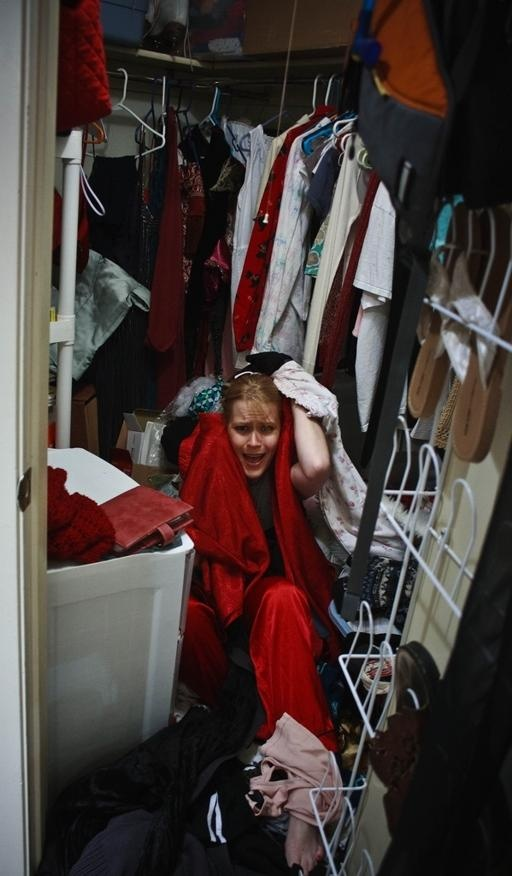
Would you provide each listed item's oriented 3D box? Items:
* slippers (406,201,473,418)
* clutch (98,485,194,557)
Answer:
[{"bbox_3d":[0.195,-0.106,0.651,0.063,0.270,0.063,-15,26,-24],"label":"slippers"},{"bbox_3d":[-0.215,0.158,1.149,0.114,0.042,0.117,30,42,34],"label":"clutch"}]
